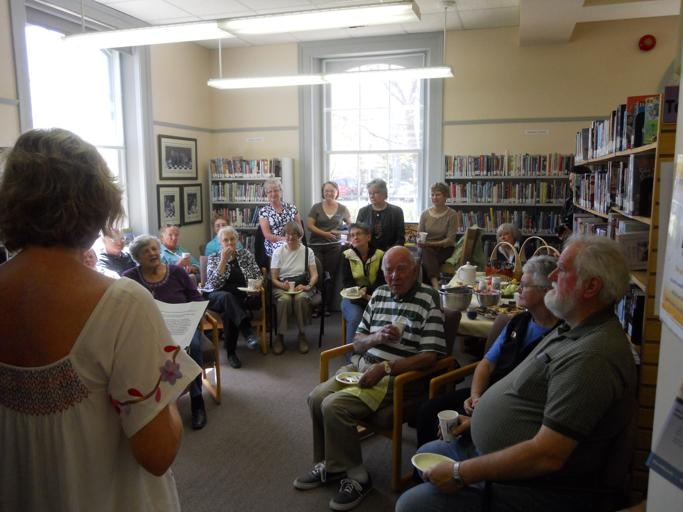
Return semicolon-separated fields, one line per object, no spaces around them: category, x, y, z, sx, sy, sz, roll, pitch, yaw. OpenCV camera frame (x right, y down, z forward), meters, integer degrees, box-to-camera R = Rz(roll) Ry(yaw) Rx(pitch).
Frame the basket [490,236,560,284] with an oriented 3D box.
basket;1.547;0.031;4.695;0.495;0.532;0.531;0;0;6

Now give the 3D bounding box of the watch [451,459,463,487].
watch;0.467;0.878;2.171;0.041;0.078;0.078;-4;28;13

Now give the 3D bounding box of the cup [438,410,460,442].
cup;0.511;0.805;2.586;0.112;0.130;0.119;-1;0;0

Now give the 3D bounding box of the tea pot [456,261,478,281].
tea pot;1.022;0.125;4.369;0.148;0.173;0.102;-4;10;-11

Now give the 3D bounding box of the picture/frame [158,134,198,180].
picture/frame;-2.142;-1.292;7.113;0.966;0.639;0.037;12;14;41

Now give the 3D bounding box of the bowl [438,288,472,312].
bowl;0.774;0.283;3.660;0.171;0.125;0.195;-1;1;-2

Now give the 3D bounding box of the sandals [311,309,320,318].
sandals;-0.312;0.684;6.520;0.113;0.065;0.163;5;7;10

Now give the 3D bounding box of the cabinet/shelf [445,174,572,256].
cabinet/shelf;2.067;-0.492;6.795;1.596;1.021;0.239;6;0;45

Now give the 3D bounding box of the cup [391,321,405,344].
cup;0.331;0.438;3.167;0.094;0.131;0.098;-1;11;0

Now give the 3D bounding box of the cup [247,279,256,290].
cup;-0.849;0.281;5.144;0.080;0.095;0.082;0;-2;0

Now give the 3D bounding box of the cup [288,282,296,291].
cup;-0.504;0.308;5.490;0.070;0.085;0.072;1;1;0

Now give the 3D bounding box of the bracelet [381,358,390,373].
bracelet;0.255;0.629;3.080;0.040;0.068;0.062;-3;-33;-15

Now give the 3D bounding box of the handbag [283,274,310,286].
handbag;-0.456;0.253;5.700;0.188;0.086;0.122;-6;0;23

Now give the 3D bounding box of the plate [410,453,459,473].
plate;0.398;0.910;2.386;0.130;0.025;0.135;0;9;7

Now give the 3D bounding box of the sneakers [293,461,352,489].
sneakers;-0.113;1.294;3.224;0.347;0.162;0.141;0;1;-22

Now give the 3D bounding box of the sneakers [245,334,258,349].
sneakers;-0.894;0.847;5.312;0.087;0.087;0.200;44;-5;-13

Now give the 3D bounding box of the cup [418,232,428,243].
cup;0.900;-0.202;5.937;0.097;0.118;0.096;3;1;0

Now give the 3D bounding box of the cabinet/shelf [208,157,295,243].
cabinet/shelf;-1.162;-0.764;7.140;1.140;1.442;0.404;0;2;7
